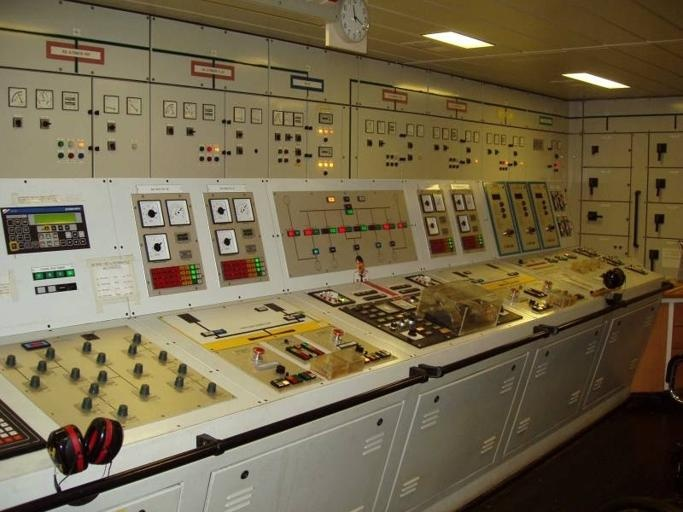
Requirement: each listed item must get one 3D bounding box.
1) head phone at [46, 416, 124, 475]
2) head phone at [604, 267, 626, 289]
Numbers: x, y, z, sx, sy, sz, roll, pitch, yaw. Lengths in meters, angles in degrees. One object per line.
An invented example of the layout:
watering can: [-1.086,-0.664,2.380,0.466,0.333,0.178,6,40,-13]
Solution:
head phone: [-0.827,0.626,1.511,0.196,0.154,0.135,3,3,-35]
head phone: [2.350,0.198,3.996,0.150,0.193,0.229,10,14,28]
